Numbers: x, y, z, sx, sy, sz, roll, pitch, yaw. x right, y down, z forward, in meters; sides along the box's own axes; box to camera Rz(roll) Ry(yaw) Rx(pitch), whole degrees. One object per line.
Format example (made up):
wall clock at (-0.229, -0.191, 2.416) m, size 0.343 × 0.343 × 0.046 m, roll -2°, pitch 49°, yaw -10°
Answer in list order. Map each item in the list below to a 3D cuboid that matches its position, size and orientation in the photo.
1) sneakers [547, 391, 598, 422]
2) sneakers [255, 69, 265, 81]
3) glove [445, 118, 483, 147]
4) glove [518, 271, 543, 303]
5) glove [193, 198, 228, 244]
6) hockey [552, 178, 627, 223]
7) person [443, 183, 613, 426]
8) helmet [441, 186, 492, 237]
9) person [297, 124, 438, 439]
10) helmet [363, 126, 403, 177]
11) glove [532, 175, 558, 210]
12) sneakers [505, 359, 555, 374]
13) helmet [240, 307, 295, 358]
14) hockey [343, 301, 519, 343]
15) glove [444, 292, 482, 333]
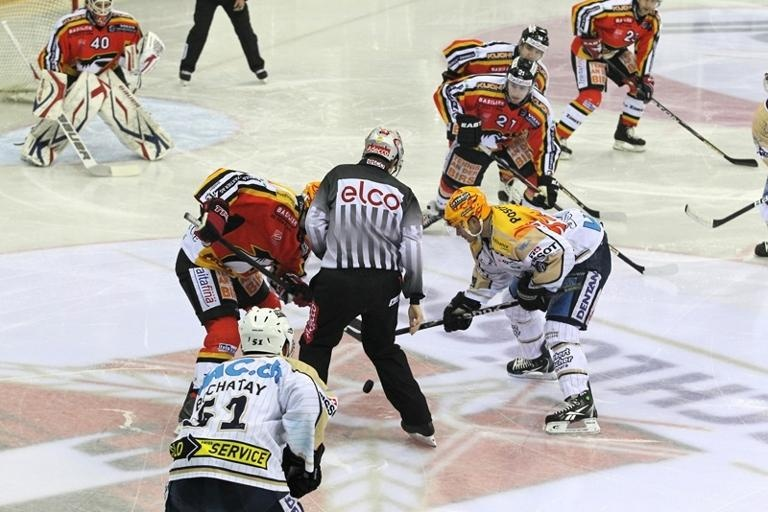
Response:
sneakers at (1.060, 0.909, 5.134) m, size 0.426 × 0.206 × 0.127 m, roll -1°, pitch -1°, yaw 2°
sneakers at (-1.612, -2.371, 10.929) m, size 0.119 × 0.129 × 0.138 m, roll -36°, pitch -5°, yaw -12°
glove at (0.649, -1.061, 7.075) m, size 0.320 × 0.275 × 0.262 m, roll 2°, pitch 21°, yaw 19°
glove at (0.861, 0.189, 5.129) m, size 0.183 × 0.143 × 0.150 m, roll -11°, pitch 12°, yaw -24°
glove at (-0.952, -0.204, 4.745) m, size 0.165 × 0.104 × 0.257 m, roll 22°, pitch 60°, yaw 20°
hockey at (1.858, -0.468, 7.552) m, size 0.531 × 0.126 × 0.481 m, roll 0°, pitch 33°, yaw -36°
person at (0.876, 0.254, 5.240) m, size 0.963 × 1.427 × 0.948 m, roll 0°, pitch 21°, yaw 15°
helmet at (0.509, -0.311, 5.195) m, size 0.346 × 0.308 × 0.245 m, roll -11°, pitch 25°, yaw 11°
person at (-0.139, 0.185, 4.968) m, size 0.775 × 1.775 × 0.781 m, roll -5°, pitch 21°, yaw 2°
helmet at (0.000, -0.645, 5.070) m, size 0.258 × 0.260 × 0.292 m, roll 8°, pitch 15°, yaw 6°
glove at (1.369, -0.553, 7.149) m, size 0.313 × 0.266 × 0.225 m, roll 5°, pitch 13°, yaw 18°
sneakers at (0.943, 0.735, 5.590) m, size 0.338 × 0.131 × 0.110 m, roll 3°, pitch 14°, yaw 6°
helmet at (-0.544, 0.359, 4.012) m, size 0.229 × 0.215 × 0.255 m, roll 2°, pitch 5°, yaw 16°
hockey at (0.280, 0.419, 5.445) m, size 1.103 × 0.080 × 0.377 m, roll -11°, pitch 2°, yaw 19°
glove at (0.469, 0.348, 5.371) m, size 0.255 × 0.121 × 0.243 m, roll -40°, pitch 28°, yaw 16°
